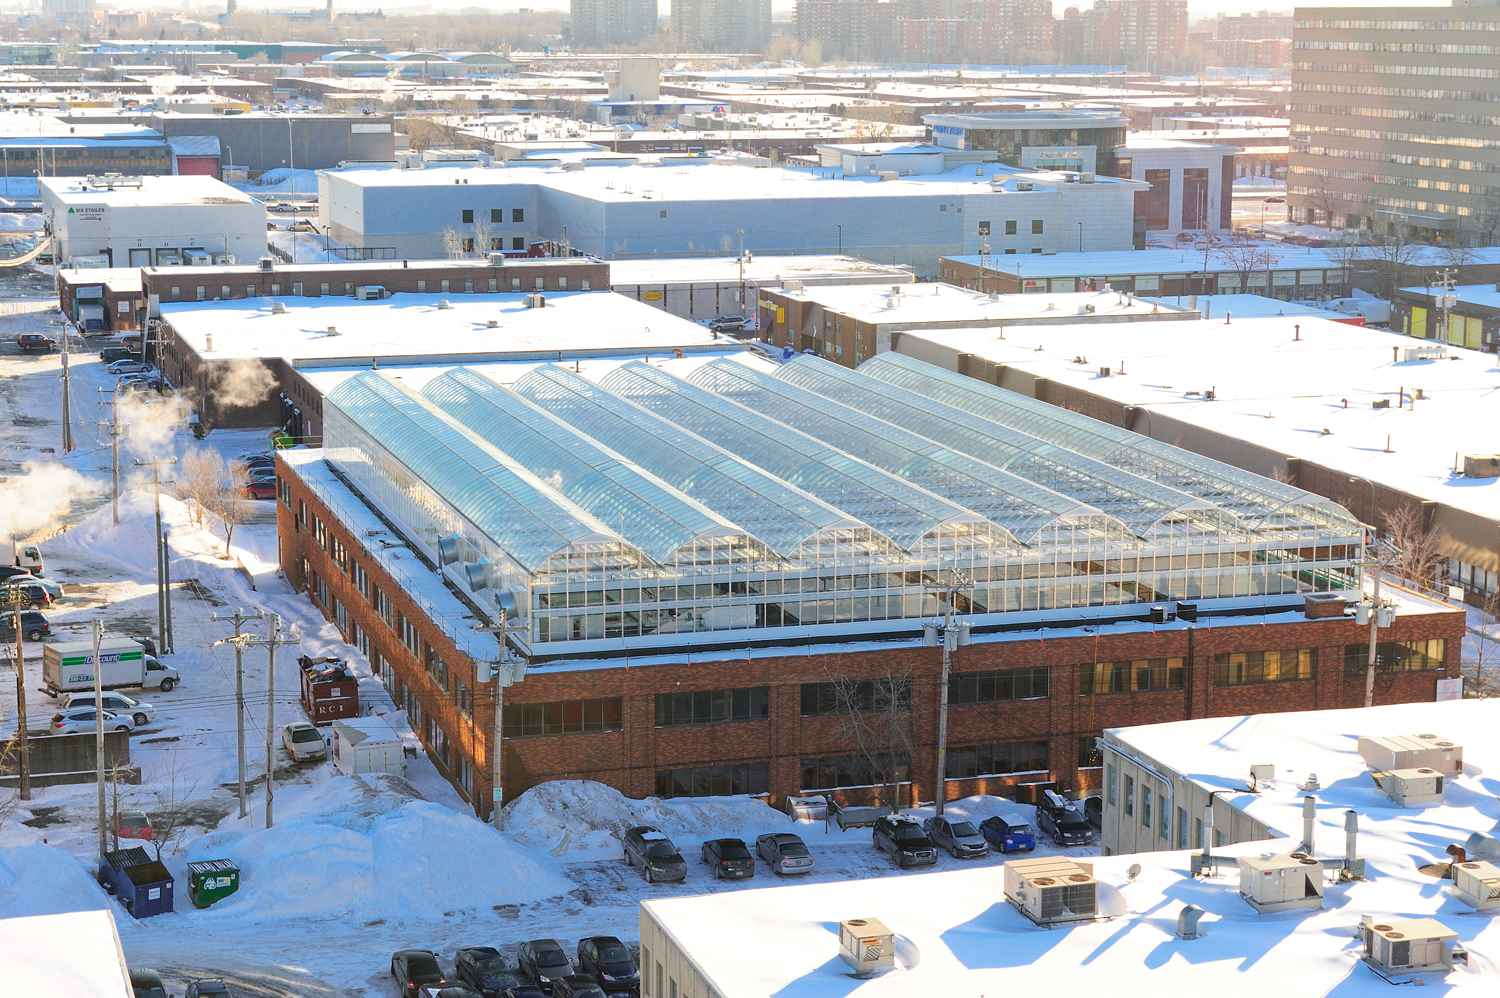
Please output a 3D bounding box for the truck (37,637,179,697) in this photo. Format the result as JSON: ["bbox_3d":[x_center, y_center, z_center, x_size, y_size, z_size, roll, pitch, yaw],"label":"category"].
[{"bbox_3d":[-30.309,7.862,120.529,5.879,2.016,2.671,-3,10,-21],"label":"truck"}]

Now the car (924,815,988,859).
[{"bbox_3d":[8.774,14.365,109.019,1.313,0.853,2.724,-4,12,-18],"label":"car"}]

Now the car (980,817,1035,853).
[{"bbox_3d":[10.972,14.329,108.834,1.323,0.834,1.926,-5,21,-17],"label":"car"}]

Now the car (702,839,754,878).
[{"bbox_3d":[-0.909,14.955,106.630,1.160,0.907,2.145,-2,18,-15],"label":"car"}]

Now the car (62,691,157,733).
[{"bbox_3d":[-29.086,10.082,117.011,4.506,1.796,2.434,-5,14,-15],"label":"car"}]

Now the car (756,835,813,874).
[{"bbox_3d":[1.350,14.815,107.166,1.190,0.737,2.350,-1,17,-13],"label":"car"}]

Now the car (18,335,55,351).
[{"bbox_3d":[-51.207,-11.165,183.097,1.982,0.857,1.281,2,16,-31],"label":"car"}]

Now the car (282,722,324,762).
[{"bbox_3d":[-19.931,10.969,114.733,1.697,1.260,2.155,-7,15,-25],"label":"car"}]

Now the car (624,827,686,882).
[{"bbox_3d":[-3.978,14.889,106.467,1.544,1.057,2.732,-6,14,-23],"label":"car"}]

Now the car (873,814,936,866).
[{"bbox_3d":[6.490,14.557,108.465,1.409,0.934,2.892,-3,24,-16],"label":"car"}]
